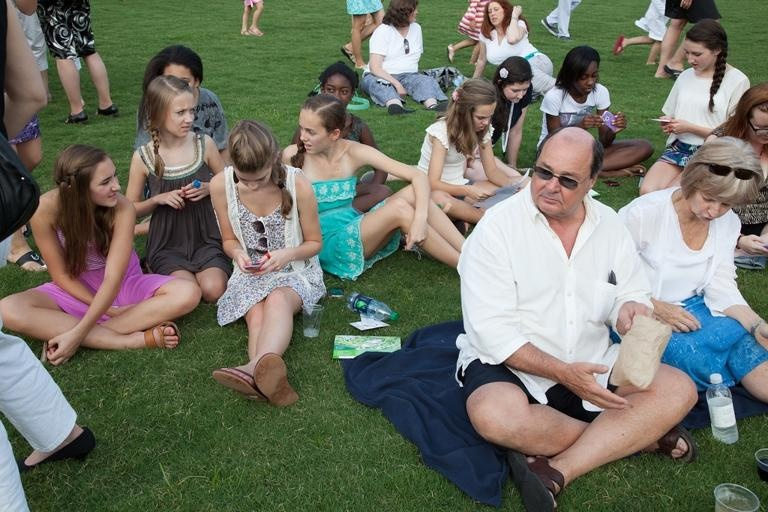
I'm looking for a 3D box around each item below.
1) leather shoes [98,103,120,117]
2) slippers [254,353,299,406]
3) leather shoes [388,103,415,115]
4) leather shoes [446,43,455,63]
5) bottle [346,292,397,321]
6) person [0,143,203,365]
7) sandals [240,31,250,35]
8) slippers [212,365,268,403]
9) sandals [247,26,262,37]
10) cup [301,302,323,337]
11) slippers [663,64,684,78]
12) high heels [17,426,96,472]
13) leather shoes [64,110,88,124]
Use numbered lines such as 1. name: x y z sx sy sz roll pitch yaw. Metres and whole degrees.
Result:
1. leather shoes: -4.125 -2.165 8.911 0.326 0.137 0.138 16 33 31
2. slippers: -0.816 0.921 4.346 0.240 0.405 0.143 -31 28 -20
3. leather shoes: 0.264 -2.392 9.749 0.450 0.128 0.287 2 29 -4
4. leather shoes: 1.331 -4.063 11.915 0.180 0.407 0.148 -3 16 14
5. bottle: -0.117 0.475 5.407 0.480 0.136 0.205 9 30 7
6. person: -2.276 0.029 4.888 1.430 1.393 1.017 -16 44 -37
7. sandals: -3.273 -5.212 13.974 0.189 0.056 0.222 -5 31 -16
8. slippers: -1.054 0.925 4.285 0.422 0.183 0.121 28 47 -11
9. sandals: -3.053 -5.265 14.053 0.468 0.183 0.161 25 42 22
10. cup: -0.634 0.573 5.154 0.244 0.251 0.236 2 4 0
11. slippers: 5.565 -3.514 11.455 0.201 0.207 0.387 -9 32 -21
12. high heels: -2.143 1.309 4.088 0.543 0.206 0.173 -9 -1 35
13. leather shoes: -4.452 -1.983 8.583 0.334 0.143 0.135 1 39 39
